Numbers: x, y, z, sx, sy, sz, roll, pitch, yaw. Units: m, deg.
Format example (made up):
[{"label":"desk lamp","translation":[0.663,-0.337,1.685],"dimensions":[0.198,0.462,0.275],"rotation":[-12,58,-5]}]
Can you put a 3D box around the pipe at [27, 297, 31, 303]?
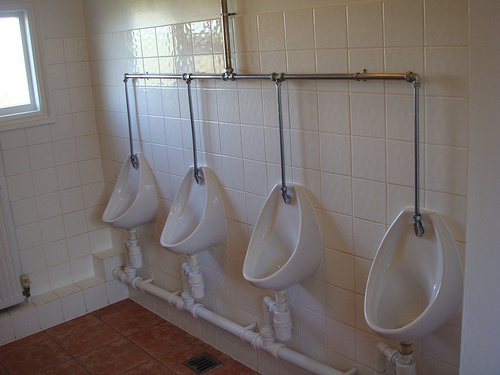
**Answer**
[{"label":"pipe","translation":[-1.841,0.929,3.306],"dimensions":[0.028,0.033,0.027],"rotation":[20,27,40]}]

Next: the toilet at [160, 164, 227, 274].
[{"label":"toilet","translation":[-0.395,0.207,2.672],"dimensions":[0.437,0.669,0.347],"rotation":[-10,17,-18]}]

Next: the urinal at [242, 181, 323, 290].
[{"label":"urinal","translation":[0.144,0.263,2.169],"dimensions":[0.411,0.514,0.337],"rotation":[-13,19,-27]}]

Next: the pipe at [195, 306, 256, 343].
[{"label":"pipe","translation":[-0.178,0.932,2.725],"dimensions":[0.555,0.075,0.062],"rotation":[11,23,39]}]

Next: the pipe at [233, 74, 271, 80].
[{"label":"pipe","translation":[0.014,-0.618,2.218],"dimensions":[0.292,0.037,0.061],"rotation":[11,24,39]}]

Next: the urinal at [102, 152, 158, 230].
[{"label":"urinal","translation":[-0.976,0.059,3.133],"dimensions":[0.358,0.613,0.428],"rotation":[-17,21,-38]}]

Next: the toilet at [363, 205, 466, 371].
[{"label":"toilet","translation":[0.684,0.375,1.675],"dimensions":[0.384,0.554,0.368],"rotation":[7,20,33]}]

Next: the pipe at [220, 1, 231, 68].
[{"label":"pipe","translation":[-0.139,-0.877,2.287],"dimensions":[0.041,0.359,0.075],"rotation":[-4,16,-1]}]

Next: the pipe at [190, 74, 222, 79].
[{"label":"pipe","translation":[-0.263,-0.685,2.443],"dimensions":[0.261,0.035,0.047],"rotation":[10,23,37]}]

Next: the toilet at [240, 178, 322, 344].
[{"label":"toilet","translation":[0.140,0.243,2.162],"dimensions":[0.407,0.544,0.334],"rotation":[-13,19,-28]}]

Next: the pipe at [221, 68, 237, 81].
[{"label":"pipe","translation":[-0.127,-0.659,2.302],"dimensions":[0.067,0.073,0.065],"rotation":[-4,15,-27]}]

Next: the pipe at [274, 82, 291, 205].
[{"label":"pipe","translation":[0.176,-0.225,2.144],"dimensions":[0.053,0.671,0.068],"rotation":[-11,17,-26]}]
